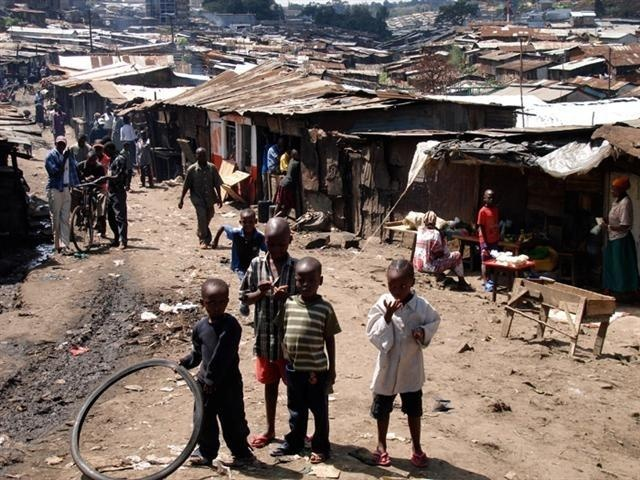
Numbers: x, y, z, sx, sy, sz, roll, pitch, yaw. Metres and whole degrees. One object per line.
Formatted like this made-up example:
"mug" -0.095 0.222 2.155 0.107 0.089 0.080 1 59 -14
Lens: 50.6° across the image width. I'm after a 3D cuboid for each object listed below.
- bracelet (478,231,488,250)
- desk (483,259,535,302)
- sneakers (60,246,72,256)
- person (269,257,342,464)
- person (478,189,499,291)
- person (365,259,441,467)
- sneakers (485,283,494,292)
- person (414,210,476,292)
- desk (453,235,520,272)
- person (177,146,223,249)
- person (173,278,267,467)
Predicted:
"bracelet" 2.782 0.005 11.618 0.080 0.244 0.186 -20 -14 17
"desk" 3.072 0.586 11.450 0.826 0.802 0.832 6 16 36
"sneakers" -4.858 0.215 12.941 0.192 0.085 0.185 -4 33 -10
"person" -0.131 1.155 6.448 0.632 1.990 0.428 -1 15 1
"person" 2.893 0.004 11.698 0.376 1.721 0.778 2 15 13
"person" 0.794 1.180 6.508 0.671 2.024 0.511 -2 15 -1
"sneakers" 2.923 0.823 11.767 0.147 0.127 0.105 5 19 -31
"person" 2.136 0.148 12.211 0.904 1.338 0.853 -3 9 -11
"desk" 3.028 0.130 13.018 0.667 0.588 1.199 -6 11 -29
"person" -2.294 -0.822 13.392 0.644 2.016 0.716 0 15 6
"person" -0.995 1.442 6.476 0.625 1.524 0.435 -5 15 -13
